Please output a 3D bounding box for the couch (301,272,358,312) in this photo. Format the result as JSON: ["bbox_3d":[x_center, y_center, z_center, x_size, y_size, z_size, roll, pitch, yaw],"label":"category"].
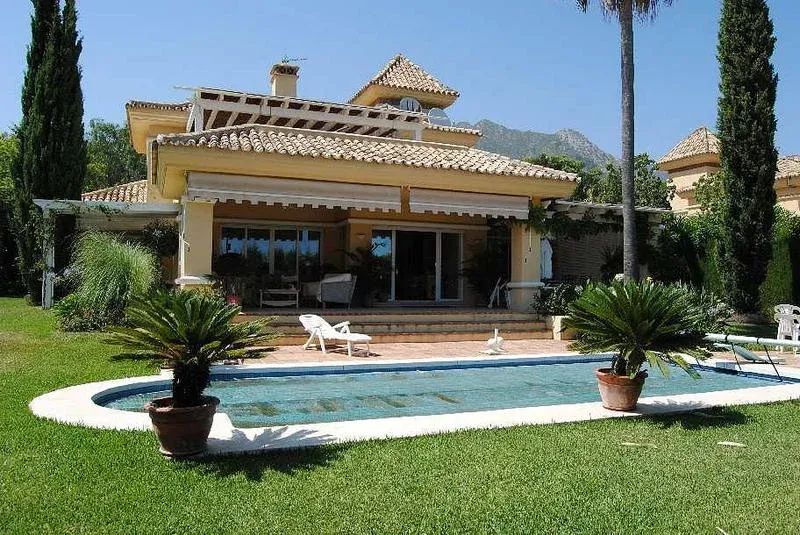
[{"bbox_3d":[-2.061,0.968,20.900,1.158,1.191,2.160,-1,-14,-2],"label":"couch"}]

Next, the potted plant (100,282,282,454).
[{"bbox_3d":[-3.251,1.232,9.463,2.264,1.994,2.296,5,1,42],"label":"potted plant"}]

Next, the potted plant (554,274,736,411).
[{"bbox_3d":[4.213,1.115,11.113,2.478,2.109,2.483,1,1,-32],"label":"potted plant"}]

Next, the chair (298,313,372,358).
[{"bbox_3d":[-1.691,1.689,15.502,1.811,0.734,0.942,1,0,42],"label":"chair"}]

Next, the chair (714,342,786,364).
[{"bbox_3d":[8.418,2.052,14.607,1.583,0.481,0.883,-6,2,-23],"label":"chair"}]
